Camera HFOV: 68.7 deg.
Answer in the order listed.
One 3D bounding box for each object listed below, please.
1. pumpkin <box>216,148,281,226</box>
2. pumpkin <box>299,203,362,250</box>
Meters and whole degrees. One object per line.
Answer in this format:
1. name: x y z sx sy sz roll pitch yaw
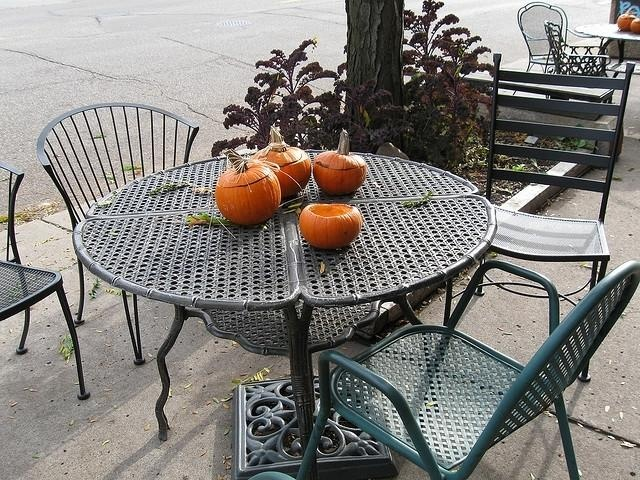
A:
1. pumpkin: -0.254 -0.214 2.030 0.337 0.363 0.297 -5 30 -7
2. pumpkin: 0.031 -0.049 1.820 0.224 0.157 0.166 19 33 31
